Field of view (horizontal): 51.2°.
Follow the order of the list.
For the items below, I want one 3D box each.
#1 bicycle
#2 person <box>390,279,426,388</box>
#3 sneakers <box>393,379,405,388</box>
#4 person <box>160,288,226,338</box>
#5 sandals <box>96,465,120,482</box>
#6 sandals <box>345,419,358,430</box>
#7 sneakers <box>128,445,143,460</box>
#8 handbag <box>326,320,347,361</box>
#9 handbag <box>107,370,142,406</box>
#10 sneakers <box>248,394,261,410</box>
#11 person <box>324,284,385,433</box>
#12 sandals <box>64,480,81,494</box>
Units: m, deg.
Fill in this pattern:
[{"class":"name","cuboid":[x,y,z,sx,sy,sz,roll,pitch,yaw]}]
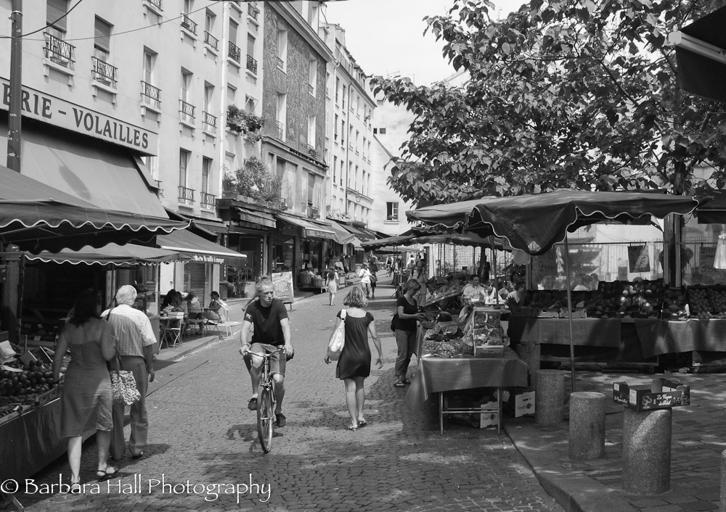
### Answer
[{"class":"bicycle","cuboid":[-1.470,2.091,11.072,0.477,1.355,1.307,-1,4,4]},{"class":"person","cuboid":[0.826,1.497,14.463,0.638,2.018,1.046,-1,4,3]},{"class":"sneakers","cuboid":[0.661,2.444,14.526,0.193,0.148,0.116,-5,5,15]},{"class":"person","cuboid":[-4.851,1.493,20.983,1.124,1.321,1.860,1,0,28]},{"class":"sandals","cuboid":[-3.386,2.841,9.935,0.127,0.163,0.363,1,1,11]},{"class":"sandals","cuboid":[-0.194,2.646,11.790,0.225,0.169,0.084,2,-6,3]},{"class":"sneakers","cuboid":[-3.204,2.723,10.594,0.186,0.200,0.226,-3,4,-19]},{"class":"handbag","cuboid":[-0.452,1.335,11.784,0.287,0.652,0.231,-2,4,-4]},{"class":"handbag","cuboid":[-3.286,1.792,10.227,0.481,0.533,0.200,-3,-8,-9]},{"class":"sneakers","cuboid":[-1.653,2.150,11.071,0.214,0.269,0.384,2,-13,-4]},{"class":"person","cuboid":[-0.158,1.586,11.998,0.812,2.172,0.823,-1,4,9]},{"class":"sandals","cuboid":[-3.690,2.904,9.589,0.136,0.138,0.279,-3,4,-21]}]
